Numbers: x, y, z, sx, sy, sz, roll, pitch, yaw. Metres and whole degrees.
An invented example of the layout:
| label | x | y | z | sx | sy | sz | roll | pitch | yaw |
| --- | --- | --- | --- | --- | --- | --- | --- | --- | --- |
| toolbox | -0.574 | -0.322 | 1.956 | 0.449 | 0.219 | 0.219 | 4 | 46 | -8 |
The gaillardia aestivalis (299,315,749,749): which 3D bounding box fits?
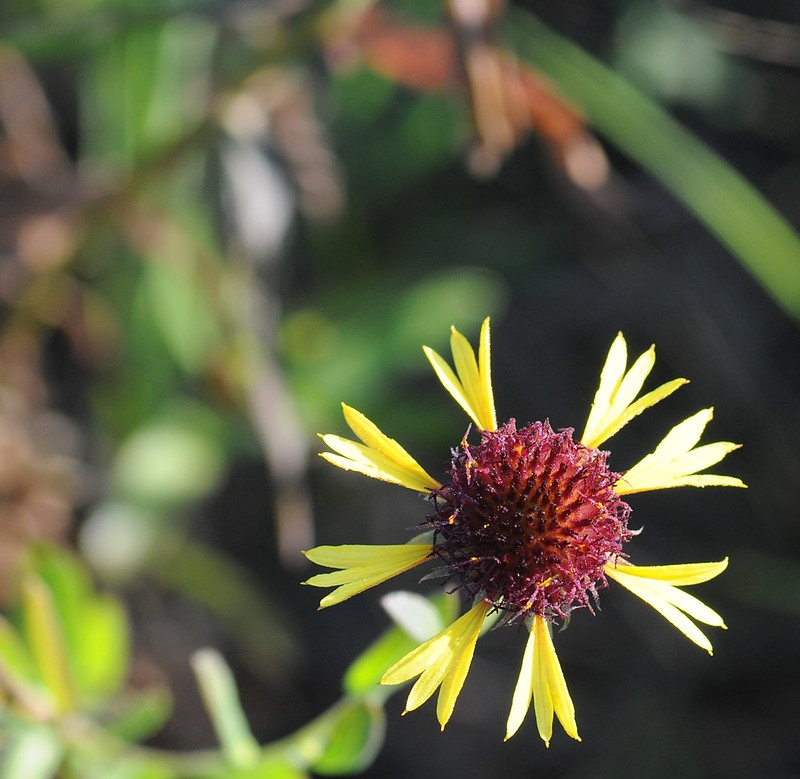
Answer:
| label | x | y | z | sx | sy | sz | roll | pitch | yaw |
| --- | --- | --- | --- | --- | --- | --- | --- | --- | --- |
| gaillardia aestivalis | 0.177 | 0.149 | 1.247 | 0.442 | 0.463 | 0.559 | 14 | 73 | 18 |
